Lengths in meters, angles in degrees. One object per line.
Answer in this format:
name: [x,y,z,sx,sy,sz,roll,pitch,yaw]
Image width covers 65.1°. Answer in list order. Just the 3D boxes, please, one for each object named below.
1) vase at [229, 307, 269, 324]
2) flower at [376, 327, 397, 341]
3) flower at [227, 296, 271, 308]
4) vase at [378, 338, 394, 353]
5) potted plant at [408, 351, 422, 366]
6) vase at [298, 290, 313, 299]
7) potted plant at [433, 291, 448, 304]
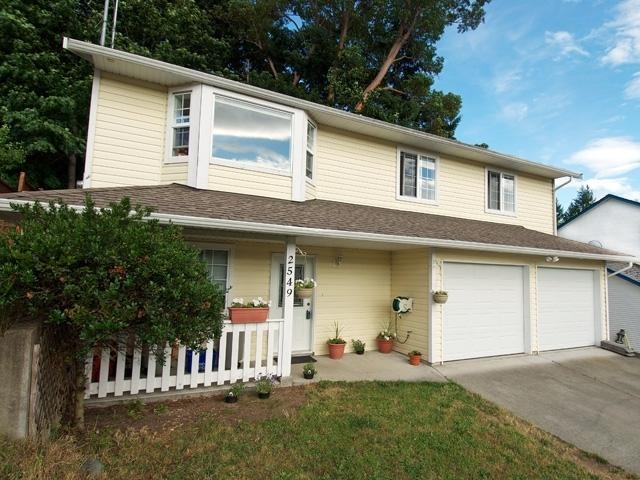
vase: [-1.688,1.788,11.976,0.676,0.277,0.445,3,-7,-17]
flower: [2.043,2.886,15.336,0.355,0.199,0.346,-1,1,-42]
flower: [-1.705,1.523,12.147,0.920,0.223,0.392,3,-3,-8]
vase: [1.998,3.240,15.307,0.442,0.317,0.433,2,-15,-5]
potted plant: [2.683,3.359,14.170,0.355,0.255,0.342,5,-16,-12]
vase: [-0.426,1.433,13.377,0.289,0.168,0.279,6,-11,-28]
potted plant: [3.407,1.634,14.129,0.364,0.248,0.354,3,-11,-17]
